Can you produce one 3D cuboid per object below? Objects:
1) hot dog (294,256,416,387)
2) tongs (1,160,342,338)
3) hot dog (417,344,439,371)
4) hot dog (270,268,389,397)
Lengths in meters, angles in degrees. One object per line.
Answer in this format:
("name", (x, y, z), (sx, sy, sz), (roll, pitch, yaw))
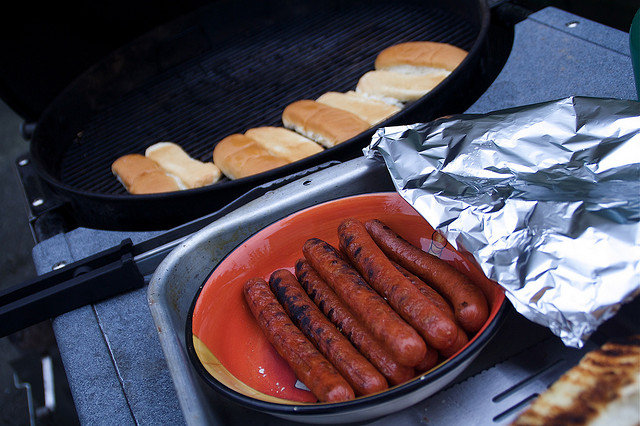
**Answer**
("hot dog", (0.098, 0.301, 1.622), (0.070, 0.090, 0.363), (-33, 70, -20))
("tongs", (-0.589, 0.132, 1.969), (0.939, 0.130, 0.153), (-25, 57, -1))
("hot dog", (0.286, 0.383, 1.597), (0.055, 0.033, 0.060), (-1, 52, 4))
("hot dog", (0.033, 0.330, 1.627), (0.072, 0.081, 0.370), (-27, 61, -26))
